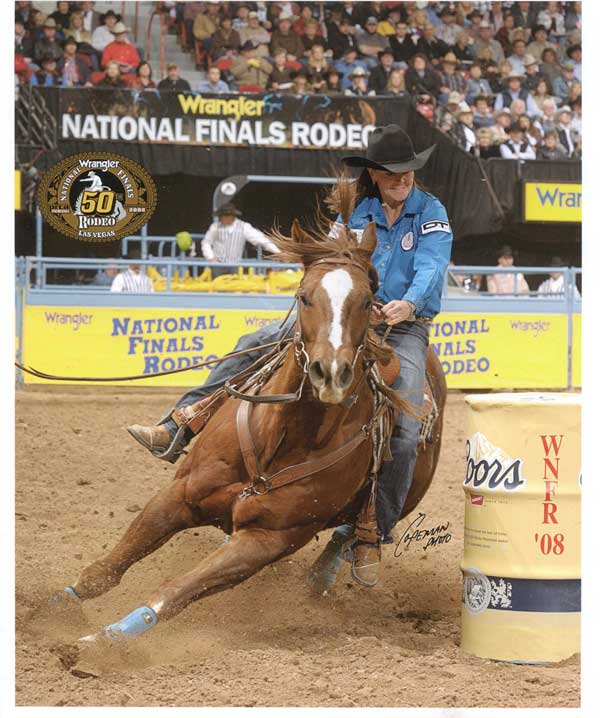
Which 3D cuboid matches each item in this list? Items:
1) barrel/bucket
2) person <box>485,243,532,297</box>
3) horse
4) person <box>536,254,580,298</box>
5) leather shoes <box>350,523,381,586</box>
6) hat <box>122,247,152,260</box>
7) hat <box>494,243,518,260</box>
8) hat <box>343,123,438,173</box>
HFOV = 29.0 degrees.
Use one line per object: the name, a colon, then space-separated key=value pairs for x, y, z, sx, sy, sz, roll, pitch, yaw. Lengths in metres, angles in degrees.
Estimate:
barrel/bucket: x=1.281 y=0.987 z=6.656 sx=0.716 sy=1.487 sz=0.546 roll=5 pitch=16 yaw=5
person: x=2.696 y=-1.063 z=15.238 sx=0.647 sy=0.800 sz=0.577 roll=-4 pitch=5 yaw=-38
horse: x=-0.098 y=0.416 z=6.488 sx=1.483 sy=2.728 sz=2.181 roll=17 pitch=20 yaw=40
person: x=3.170 y=-0.978 z=14.391 sx=0.495 sy=0.483 sz=1.741 roll=6 pitch=14 yaw=11
leather shoes: x=0.388 y=1.168 z=6.900 sx=0.151 sy=0.148 sz=0.408 roll=1 pitch=16 yaw=-3
hat: x=-2.115 y=-1.373 z=15.098 sx=0.353 sy=0.125 sz=0.464 roll=1 pitch=1 yaw=-9
hat: x=2.729 y=-1.432 z=15.505 sx=0.176 sy=0.164 sz=0.215 roll=3 pitch=-5 yaw=4
hat: x=0.524 y=-1.268 z=7.070 sx=0.623 sy=0.227 sz=0.614 roll=-5 pitch=8 yaw=7
